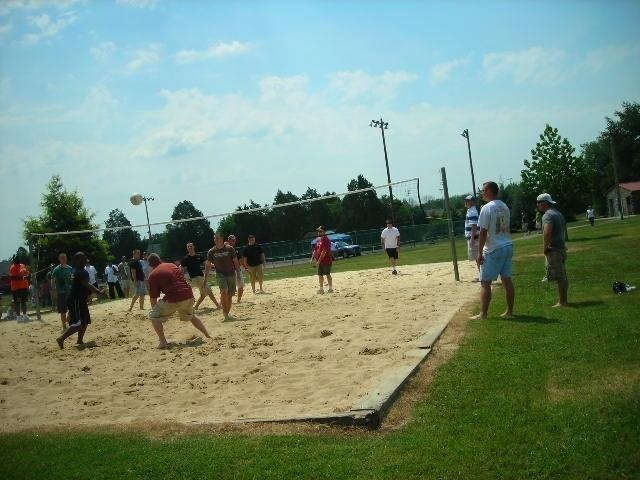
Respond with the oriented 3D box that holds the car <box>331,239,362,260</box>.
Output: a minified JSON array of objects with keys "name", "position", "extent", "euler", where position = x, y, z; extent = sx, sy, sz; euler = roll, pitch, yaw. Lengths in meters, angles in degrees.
[{"name":"car","position":[1.760,0.627,43.164],"extent":[1.847,1.137,2.616],"euler":[-7,7,1]}]

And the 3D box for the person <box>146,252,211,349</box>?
[{"name":"person","position":[-2.867,1.274,12.456],"extent":[1.037,1.937,0.920],"euler":[-18,-1,-44]}]

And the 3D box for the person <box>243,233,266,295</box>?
[{"name":"person","position":[-1.917,0.679,17.613],"extent":[0.580,1.725,0.664],"euler":[-7,7,-7]}]

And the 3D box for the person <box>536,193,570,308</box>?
[{"name":"person","position":[3.938,0.180,10.345],"extent":[0.412,1.898,0.843],"euler":[-3,7,20]}]
